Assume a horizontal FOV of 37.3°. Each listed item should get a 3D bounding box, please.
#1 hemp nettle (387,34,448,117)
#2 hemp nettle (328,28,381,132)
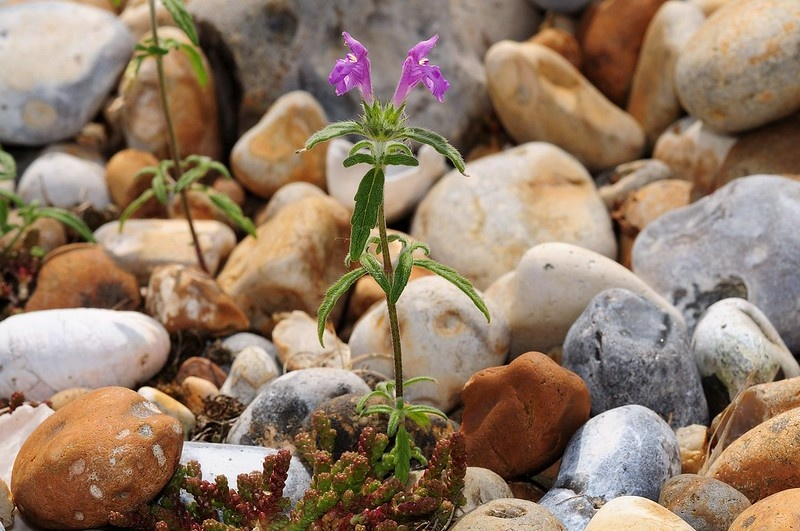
[{"bbox_3d":[0.083,-1.157,7.254,0.317,0.551,0.179,4,40,9],"label":"hemp nettle"},{"bbox_3d":[-0.297,-1.156,7.444,0.398,0.821,0.434,2,10,-3],"label":"hemp nettle"}]
